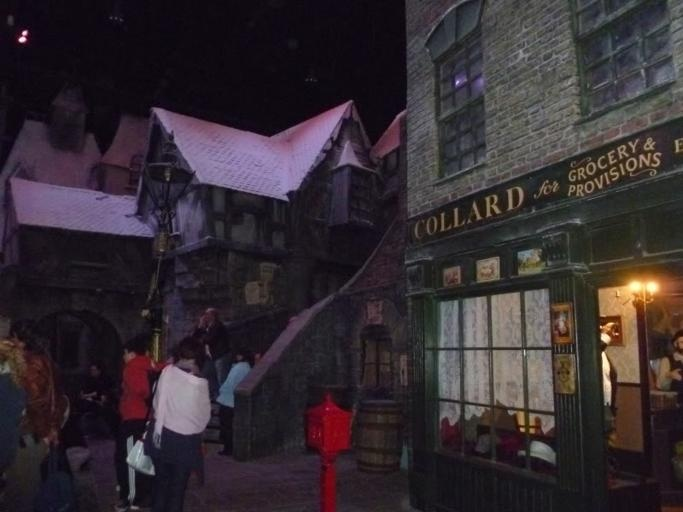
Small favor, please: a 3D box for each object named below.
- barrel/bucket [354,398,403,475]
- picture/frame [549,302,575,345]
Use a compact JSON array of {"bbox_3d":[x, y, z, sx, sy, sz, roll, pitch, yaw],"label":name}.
[{"bbox_3d":[0.695,3.373,13.259,0.881,1.302,0.459,2,-12,3],"label":"barrel/bucket"},{"bbox_3d":[3.005,0.895,9.560,0.070,0.765,0.506,3,-4,-30],"label":"picture/frame"}]
